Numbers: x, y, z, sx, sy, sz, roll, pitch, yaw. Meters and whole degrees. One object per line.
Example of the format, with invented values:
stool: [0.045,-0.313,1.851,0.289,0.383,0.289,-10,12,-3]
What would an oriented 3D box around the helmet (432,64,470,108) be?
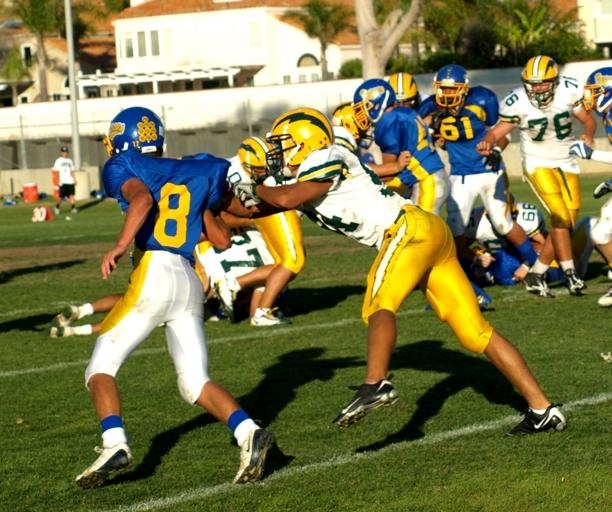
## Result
helmet: [1.530,-1.748,8.210,0.373,0.389,0.450,0,15,13]

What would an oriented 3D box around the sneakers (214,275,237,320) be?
sneakers: [-0.746,0.389,7.376,0.166,0.411,0.188,1,-10,-6]

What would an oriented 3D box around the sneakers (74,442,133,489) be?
sneakers: [-1.051,1.103,4.147,0.277,0.094,0.132,-31,43,-7]

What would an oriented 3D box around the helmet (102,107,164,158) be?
helmet: [-1.055,-0.721,4.676,0.343,0.306,0.263,6,3,27]

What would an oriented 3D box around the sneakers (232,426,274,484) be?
sneakers: [-0.260,1.016,4.128,0.172,0.341,0.127,18,-16,17]

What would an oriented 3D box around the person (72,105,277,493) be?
person: [-0.772,0.162,4.420,0.975,1.978,1.193,-5,10,-3]

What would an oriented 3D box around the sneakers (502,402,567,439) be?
sneakers: [1.304,0.930,4.523,0.381,0.165,0.136,-10,6,11]

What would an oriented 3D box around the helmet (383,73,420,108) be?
helmet: [1.022,-1.750,8.237,0.325,0.411,0.351,-8,2,4]

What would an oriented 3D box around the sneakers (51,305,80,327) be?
sneakers: [-2.057,0.514,6.743,0.150,0.117,0.326,0,-32,-41]

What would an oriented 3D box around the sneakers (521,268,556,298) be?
sneakers: [2.374,0.287,7.916,0.418,0.279,0.147,16,10,33]

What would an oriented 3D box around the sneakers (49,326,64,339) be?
sneakers: [-2.077,0.642,6.628,0.104,0.106,0.118,-4,1,-14]

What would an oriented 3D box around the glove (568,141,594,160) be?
glove: [2.425,-0.924,6.976,0.189,0.152,0.353,-1,10,18]

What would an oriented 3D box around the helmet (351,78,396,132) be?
helmet: [0.625,-1.431,7.411,0.472,0.406,0.383,-25,11,8]

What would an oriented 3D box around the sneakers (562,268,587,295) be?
sneakers: [2.597,0.253,7.754,0.134,0.148,0.332,-19,10,4]

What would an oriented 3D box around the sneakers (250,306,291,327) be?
sneakers: [-0.275,0.569,7.427,0.463,0.189,0.154,0,7,1]

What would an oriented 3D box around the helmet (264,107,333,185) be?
helmet: [0.007,-0.643,4.549,0.418,0.375,0.344,4,3,5]

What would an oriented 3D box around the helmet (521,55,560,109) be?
helmet: [2.259,-1.685,7.616,0.360,0.439,0.472,2,46,26]
